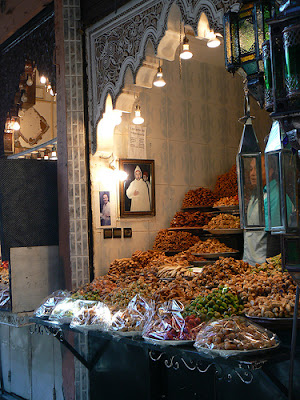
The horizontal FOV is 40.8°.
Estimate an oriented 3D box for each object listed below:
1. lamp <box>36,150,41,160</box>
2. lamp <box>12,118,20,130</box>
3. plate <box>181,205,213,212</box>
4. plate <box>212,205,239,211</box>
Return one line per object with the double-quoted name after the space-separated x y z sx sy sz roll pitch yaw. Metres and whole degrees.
-1.533 -0.615 5.565 0.050 0.124 0.374 -1 -1 -16 "lamp"
-2.055 -1.160 6.184 0.086 0.161 0.283 -1 -2 -20 "lamp"
0.651 0.122 5.701 0.575 0.092 0.160 -4 -2 39 "plate"
0.984 0.108 5.105 0.133 0.074 0.514 -2 -1 -20 "plate"
